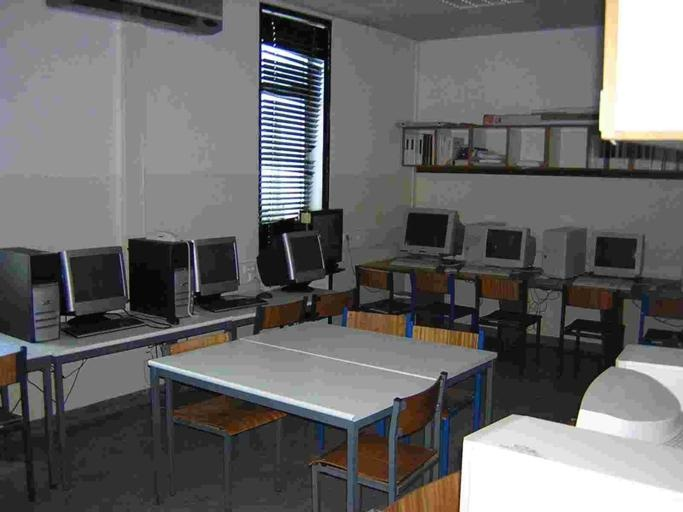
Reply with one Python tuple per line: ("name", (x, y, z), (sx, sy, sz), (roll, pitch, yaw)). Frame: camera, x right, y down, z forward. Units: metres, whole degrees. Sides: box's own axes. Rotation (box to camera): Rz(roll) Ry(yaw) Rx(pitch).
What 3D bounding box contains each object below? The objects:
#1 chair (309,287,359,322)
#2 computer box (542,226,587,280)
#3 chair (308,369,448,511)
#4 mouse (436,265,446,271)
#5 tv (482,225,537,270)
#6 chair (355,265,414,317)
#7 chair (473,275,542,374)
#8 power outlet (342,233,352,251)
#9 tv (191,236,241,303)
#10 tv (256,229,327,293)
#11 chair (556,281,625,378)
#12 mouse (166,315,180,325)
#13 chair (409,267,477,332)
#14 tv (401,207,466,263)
("chair", (-0.079, 0.417, 4.690), (0.301, 0.180, 0.393), (-2, 6, 2))
("computer box", (2.388, -0.052, 5.945), (0.310, 0.484, 0.473), (10, 15, 43))
("chair", (0.212, 0.872, 2.652), (0.494, 0.704, 0.687), (7, 11, 33))
("mouse", (1.090, 0.135, 6.071), (0.054, 0.076, 0.077), (-6, 10, -29))
("tv", (1.868, -0.099, 6.171), (0.472, 0.426, 0.480), (2, 4, 35))
("chair", (0.479, 0.346, 6.198), (0.504, 0.646, 0.679), (-3, 5, -44))
("chair", (1.637, 0.669, 5.432), (0.626, 1.121, 0.665), (9, 18, 37))
("power outlet", (0.072, -0.172, 6.538), (0.034, 0.199, 0.150), (7, 11, 32))
("tv", (-1.007, 0.113, 4.397), (0.269, 0.514, 0.512), (-1, 2, 32))
("tv", (-0.408, 0.031, 5.154), (0.504, 0.659, 0.705), (2, 7, 29))
("chair", (2.501, 0.662, 5.554), (0.585, 0.791, 1.095), (6, 10, 27))
("mouse", (-1.188, 0.454, 3.909), (0.115, 0.064, 0.066), (3, 0, -18))
("chair", (1.048, 0.452, 5.811), (0.544, 0.943, 0.576), (8, 16, 38))
("tv", (1.080, -0.272, 6.682), (0.915, 0.780, 0.509), (2, 1, 26))
